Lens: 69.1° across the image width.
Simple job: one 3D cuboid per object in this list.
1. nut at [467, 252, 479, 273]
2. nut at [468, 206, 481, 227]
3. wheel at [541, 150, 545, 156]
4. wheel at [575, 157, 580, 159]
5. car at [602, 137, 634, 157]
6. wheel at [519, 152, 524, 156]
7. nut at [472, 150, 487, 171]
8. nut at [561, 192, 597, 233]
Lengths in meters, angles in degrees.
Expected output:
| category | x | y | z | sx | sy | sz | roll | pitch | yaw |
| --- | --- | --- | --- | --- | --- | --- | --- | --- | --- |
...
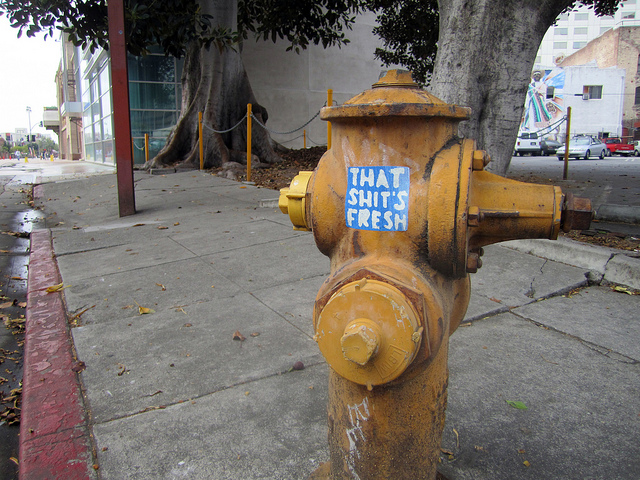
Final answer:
| category | x | y | z | sx | sy | sz | roll | pitch | yaw |
| --- | --- | --- | --- | --- | --- | --- | --- | --- | --- |
| nut | 0.678 | 0.104 | 2.097 | 0.058 | 0.116 | 0.116 | 0 | -2 | 11 |
| nut | 0.647 | -0.100 | 1.962 | 0.060 | 0.081 | 0.051 | 4 | 1 | -22 |
| wheel | 15.536 | -6.032 | 32.522 | 0.179 | 0.340 | 0.209 | 0 | -2 | -38 |
| wheel | 14.277 | -4.545 | 25.880 | 0.130 | 0.083 | 0.079 | -4 | 32 | 14 |
| car | 18.947 | -6.077 | 30.465 | 1.133 | 1.019 | 2.150 | -3 | 16 | -5 |
| wheel | 14.132 | -6.025 | 32.697 | 0.201 | 0.247 | 0.202 | -4 | -3 | 0 |
| nut | 0.688 | -0.345 | 2.018 | 0.058 | 0.092 | 0.117 | -1 | 9 | 7 |
| nut | 1.161 | -0.118 | 2.111 | 0.146 | 0.207 | 0.188 | 4 | -2 | 19 |
